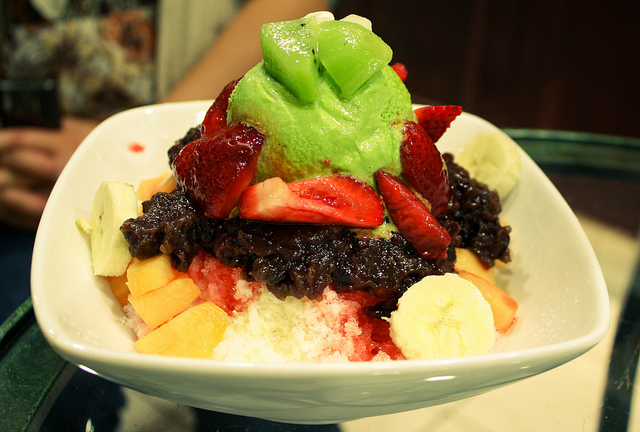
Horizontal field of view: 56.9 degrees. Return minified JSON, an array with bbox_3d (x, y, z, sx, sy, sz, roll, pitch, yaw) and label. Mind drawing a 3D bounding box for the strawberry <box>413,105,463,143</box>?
[{"bbox_3d":[0.519,-0.431,2.645,0.219,0.164,0.047,-13,32,5],"label":"strawberry"}]
